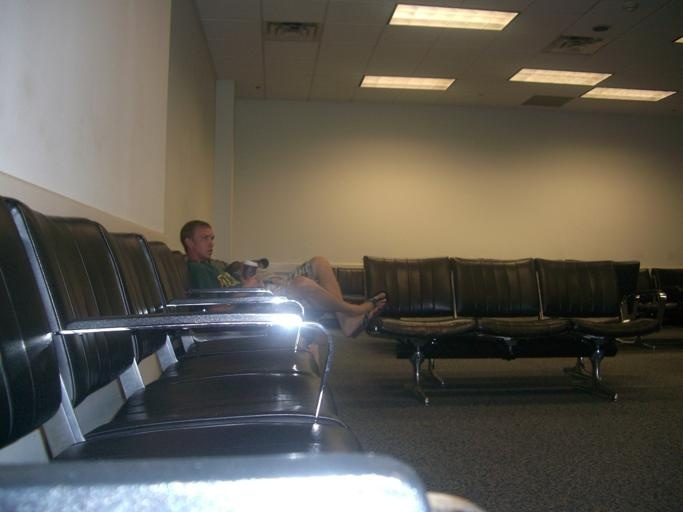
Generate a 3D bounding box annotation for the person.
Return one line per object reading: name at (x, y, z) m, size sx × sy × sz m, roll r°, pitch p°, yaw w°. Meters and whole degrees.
person at (-0.306, 0.132, 3.259) m, size 1.302 × 0.823 × 0.631 m, roll 0°, pitch 10°, yaw 0°
